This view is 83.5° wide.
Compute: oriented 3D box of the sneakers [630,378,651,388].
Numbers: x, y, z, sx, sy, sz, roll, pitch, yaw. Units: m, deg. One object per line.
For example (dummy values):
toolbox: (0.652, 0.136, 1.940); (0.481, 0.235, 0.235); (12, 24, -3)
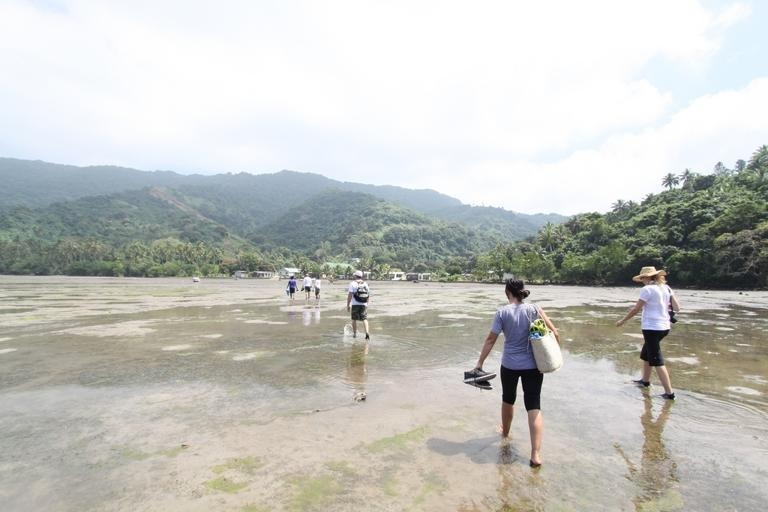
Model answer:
sneakers: (7.281, 3.572, 12.230); (0.161, 0.169, 0.421); (-4, 8, -31)

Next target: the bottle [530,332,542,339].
bottle: (3.135, 1.634, 8.854); (0.141, 0.127, 0.137); (2, 0, 4)

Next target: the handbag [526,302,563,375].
handbag: (3.346, 1.765, 8.920); (0.648, 1.353, 0.487); (4, 10, 18)

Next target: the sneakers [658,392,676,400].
sneakers: (7.440, 3.636, 11.335); (0.150, 0.164, 0.403); (0, 2, -40)
